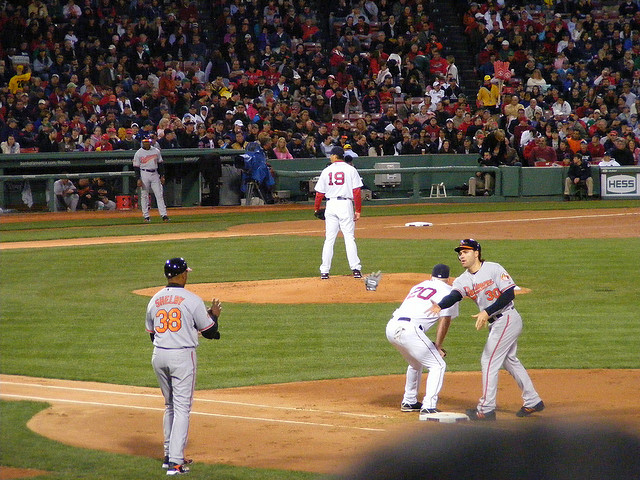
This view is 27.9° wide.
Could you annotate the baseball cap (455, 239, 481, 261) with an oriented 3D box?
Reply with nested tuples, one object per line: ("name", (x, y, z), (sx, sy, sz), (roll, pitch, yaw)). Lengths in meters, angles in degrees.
("baseball cap", (2.437, 0.120, 21.403), (0.329, 0.165, 0.228), (14, -3, -5))

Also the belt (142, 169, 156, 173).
("belt", (-4.650, -1.879, 34.922), (0.329, 0.104, 0.087), (-8, 16, -31))

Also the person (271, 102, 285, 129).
("person", (-1.408, -3.859, 39.583), (0.291, 0.715, 0.456), (-1, 15, -1))

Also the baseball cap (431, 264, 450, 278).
("baseball cap", (1.990, 0.511, 21.560), (0.249, 0.200, 0.275), (3, 14, 13))

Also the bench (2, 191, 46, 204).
("bench", (-8.429, -1.180, 36.594), (1.179, 0.391, 0.100), (-5, 16, -20))

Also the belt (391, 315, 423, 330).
("belt", (1.401, 1.375, 21.411), (0.525, 0.203, 0.122), (4, 15, 19))

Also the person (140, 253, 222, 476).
("person", (-2.191, 1.944, 20.153), (1.035, 3.168, 1.337), (-3, 15, -8))

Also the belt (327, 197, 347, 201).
("belt", (0.333, -0.898, 27.836), (0.411, 0.062, 0.093), (1, 14, 7))

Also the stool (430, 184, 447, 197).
("stool", (3.645, -1.562, 40.613), (0.410, 0.361, 0.401), (2, -3, -41))

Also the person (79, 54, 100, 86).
("person", (-7.070, -5.140, 39.138), (0.598, 0.902, 1.276), (-4, 14, -11))

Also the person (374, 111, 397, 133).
("person", (2.041, -3.742, 40.978), (0.838, 0.695, 0.446), (-3, 18, -32))
